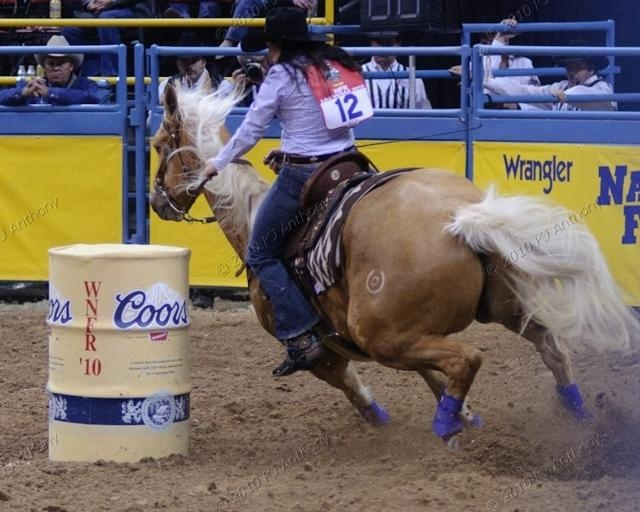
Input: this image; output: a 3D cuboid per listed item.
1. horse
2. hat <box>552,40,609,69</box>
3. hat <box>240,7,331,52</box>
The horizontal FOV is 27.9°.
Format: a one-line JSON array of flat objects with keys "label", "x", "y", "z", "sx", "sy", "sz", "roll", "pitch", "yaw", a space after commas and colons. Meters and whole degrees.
[{"label": "horse", "x": 1.060, "y": -0.107, "z": 10.619, "sx": 3.713, "sy": 2.884, "sz": 3.263, "roll": 1, "pitch": 8, "yaw": 42}, {"label": "hat", "x": 2.787, "y": -2.061, "z": 13.595, "sx": 0.622, "sy": 0.222, "sz": 0.480, "roll": 0, "pitch": -1, "yaw": -3}, {"label": "hat", "x": -0.341, "y": -1.704, "z": 9.836, "sx": 0.476, "sy": 0.183, "sz": 0.406, "roll": 4, "pitch": 13, "yaw": 36}]
